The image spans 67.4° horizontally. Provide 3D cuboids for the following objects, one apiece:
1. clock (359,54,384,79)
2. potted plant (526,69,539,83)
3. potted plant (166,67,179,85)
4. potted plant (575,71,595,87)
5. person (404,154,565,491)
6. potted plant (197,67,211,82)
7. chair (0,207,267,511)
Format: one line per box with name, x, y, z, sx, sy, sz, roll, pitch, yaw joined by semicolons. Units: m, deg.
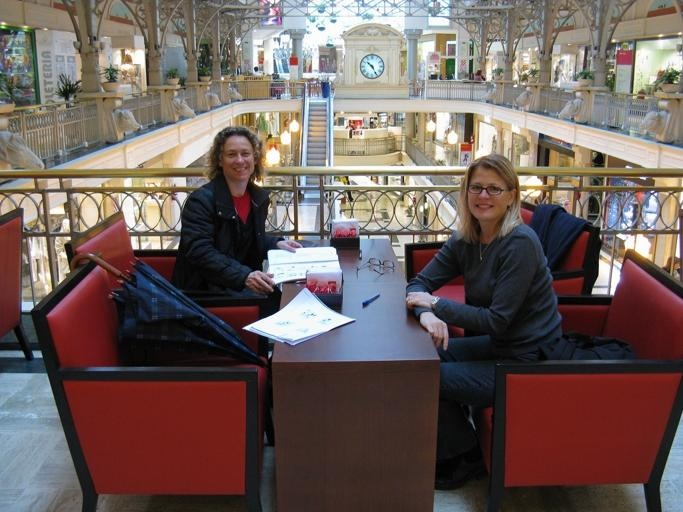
clock;1.466;-9.292;24.818;0.968;1.116;0.114;7;11;1
potted plant;6.261;-6.257;17.631;0.367;0.503;1.228;3;17;13
potted plant;-4.526;-5.158;14.640;0.330;0.437;0.472;-7;17;-21
potted plant;6.174;-4.725;13.565;0.375;0.395;0.371;6;17;23
person;0.647;0.354;2.567;0.761;1.666;0.600;1;7;-14
potted plant;-4.614;-6.590;18.450;0.399;0.522;1.288;-4;17;-13
chair;-0.723;0.601;2.500;0.847;1.155;1.390;-1;20;-6
